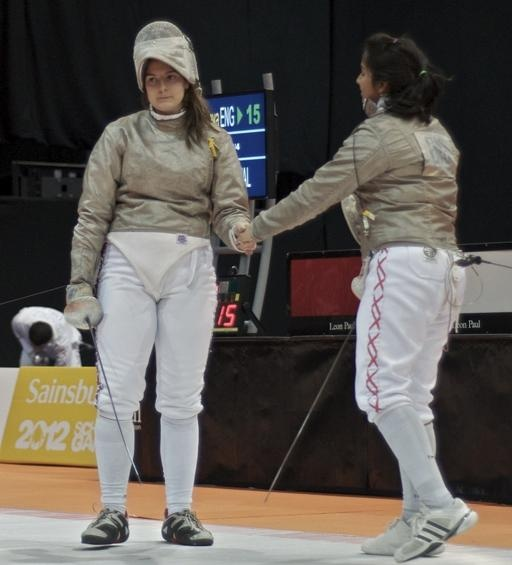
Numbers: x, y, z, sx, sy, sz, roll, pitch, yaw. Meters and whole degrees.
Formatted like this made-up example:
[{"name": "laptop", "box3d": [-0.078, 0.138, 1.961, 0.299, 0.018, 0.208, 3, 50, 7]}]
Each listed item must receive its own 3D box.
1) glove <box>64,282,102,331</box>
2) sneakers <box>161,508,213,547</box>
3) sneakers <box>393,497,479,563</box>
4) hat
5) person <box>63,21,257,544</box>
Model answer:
[{"name": "glove", "box3d": [-0.449, 0.065, 2.066, 0.094, 0.125, 0.060, -17, -25, -4]}, {"name": "sneakers", "box3d": [-0.183, 0.637, 1.996, 0.064, 0.057, 0.162, 8, -12, -39]}, {"name": "sneakers", "box3d": [0.406, 0.572, 1.767, 0.170, 0.163, 0.068, 5, 10, 10]}, {"name": "hat", "box3d": [-0.244, -0.636, 2.201, 0.178, 0.151, 0.212, -8, -5, 6]}, {"name": "person", "box3d": [-0.256, -0.022, 2.083, 0.480, 1.379, 0.566, 4, 10, 0]}]
